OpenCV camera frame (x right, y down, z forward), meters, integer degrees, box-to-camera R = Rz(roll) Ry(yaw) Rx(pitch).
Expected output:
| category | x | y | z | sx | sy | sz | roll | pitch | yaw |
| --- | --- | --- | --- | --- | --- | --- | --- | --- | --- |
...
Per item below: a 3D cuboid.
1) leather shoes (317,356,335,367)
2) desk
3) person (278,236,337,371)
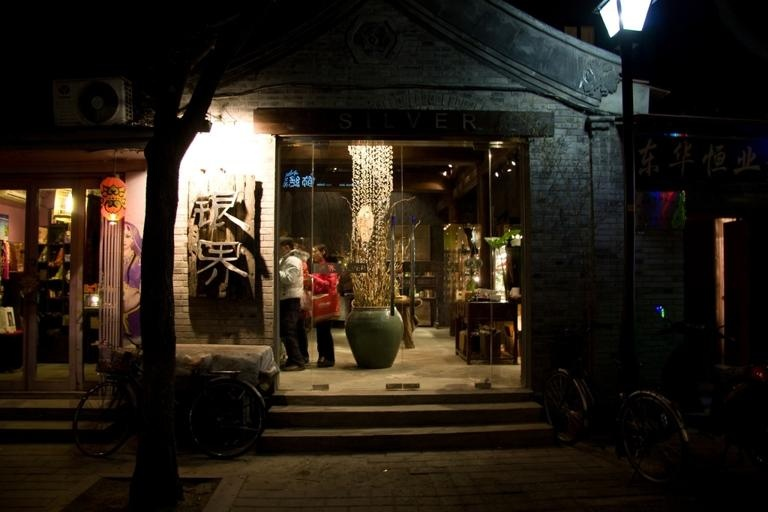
| category | x | y | z | sx | sy | sz | roll | pitch | yaw |
| --- | --- | --- | --- | --- | --- | --- | --- | --- | --- |
| leather shoes | -1.029 | 1.871 | 11.396 | 0.121 | 0.138 | 0.343 | -6 | -9 | 45 |
| desk | 2.041 | 1.325 | 12.302 | 0.929 | 1.077 | 1.591 | 0 | 0 | 8 |
| person | -1.272 | 0.808 | 11.233 | 0.924 | 2.244 | 1.264 | -4 | -3 | 27 |
